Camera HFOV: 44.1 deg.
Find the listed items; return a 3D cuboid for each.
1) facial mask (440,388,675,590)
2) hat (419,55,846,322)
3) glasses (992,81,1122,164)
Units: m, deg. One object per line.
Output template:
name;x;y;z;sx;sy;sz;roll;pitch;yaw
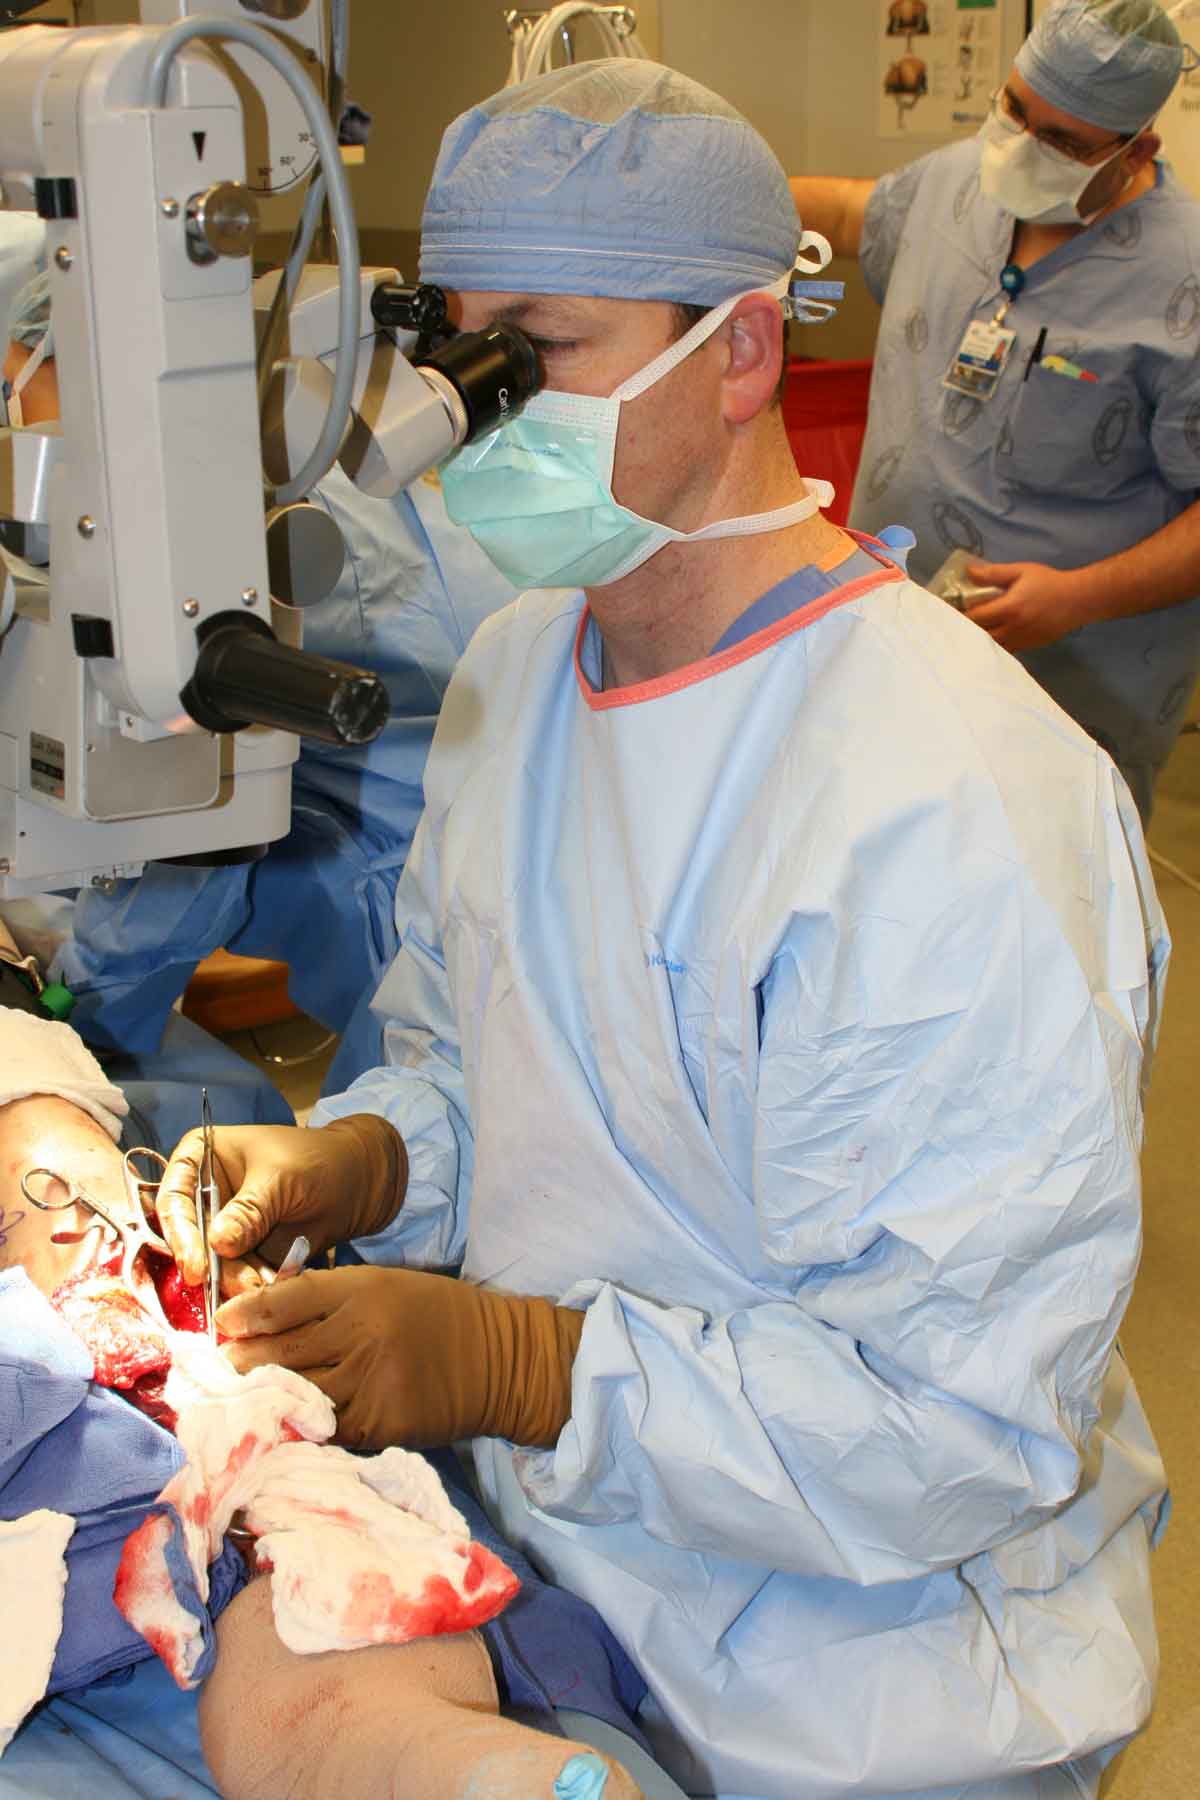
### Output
facial mask;-0.021;-0.307;1.108;0.144;0.092;0.117;-29;44;-14
hat;0.022;-0.479;1.124;0.270;0.168;0.183;1;10;-28
glasses;0.643;-1.075;2.071;0.138;0.054;0.146;28;-7;15
